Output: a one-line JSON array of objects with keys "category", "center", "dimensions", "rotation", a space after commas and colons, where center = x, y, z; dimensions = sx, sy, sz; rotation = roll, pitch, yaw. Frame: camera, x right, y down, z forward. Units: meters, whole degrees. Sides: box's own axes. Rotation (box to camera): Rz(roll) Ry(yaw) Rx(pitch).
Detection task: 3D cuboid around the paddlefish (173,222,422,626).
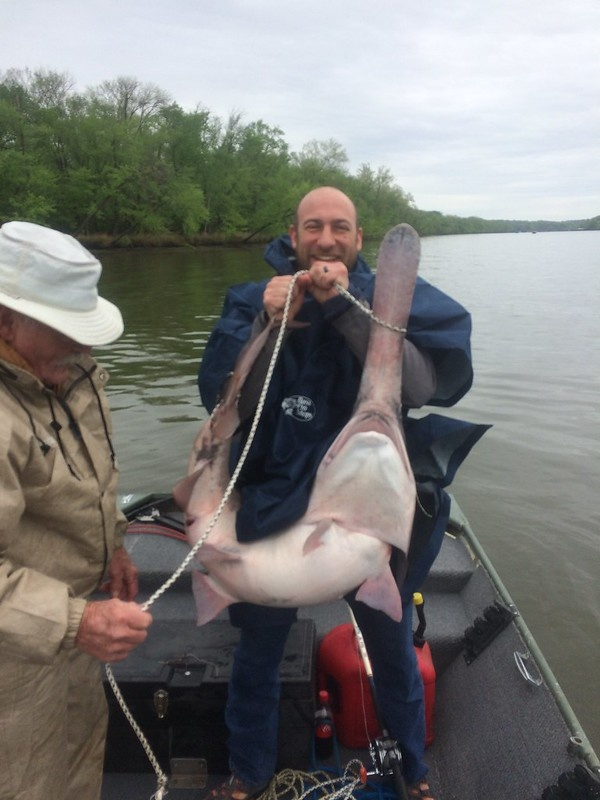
[{"category": "paddlefish", "center": [0.015, 0.140, 2.498], "dimensions": [0.804, 1.455, 0.489], "rotation": [8, 18, 8]}]
